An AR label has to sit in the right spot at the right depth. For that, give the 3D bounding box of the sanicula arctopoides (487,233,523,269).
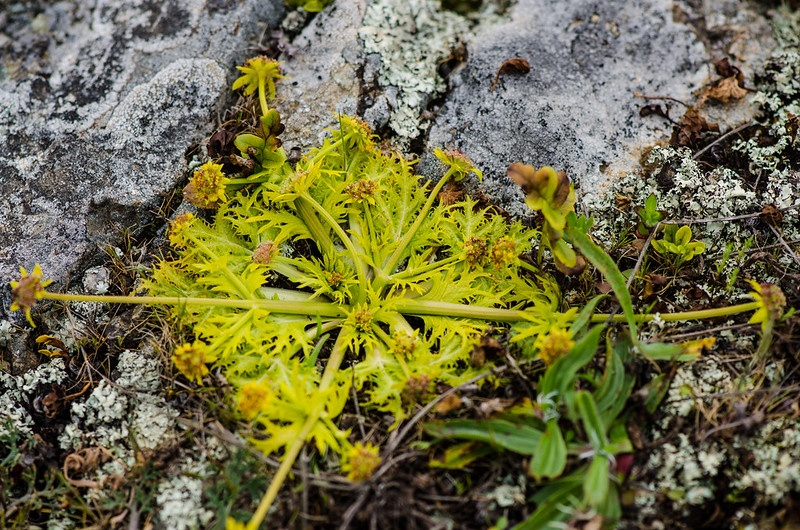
[{"bbox_3d":[0.583,-0.081,4.356,0.166,0.118,0.149,-26,64,0],"label":"sanicula arctopoides"}]

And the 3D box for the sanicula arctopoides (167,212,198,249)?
[{"bbox_3d":[-1.240,-0.195,4.348,0.176,0.158,0.061,-45,50,-6],"label":"sanicula arctopoides"}]

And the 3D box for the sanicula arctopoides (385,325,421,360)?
[{"bbox_3d":[0.019,0.424,4.250,0.177,0.092,0.173,-8,66,9],"label":"sanicula arctopoides"}]

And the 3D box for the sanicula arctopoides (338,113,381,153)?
[{"bbox_3d":[-0.255,-0.767,4.484,0.211,0.213,0.093,39,84,25],"label":"sanicula arctopoides"}]

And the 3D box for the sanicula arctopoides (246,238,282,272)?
[{"bbox_3d":[-0.782,-0.065,4.435,0.113,0.137,0.158,23,74,20],"label":"sanicula arctopoides"}]

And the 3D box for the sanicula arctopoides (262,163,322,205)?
[{"bbox_3d":[-0.610,-0.432,4.380,0.356,0.186,0.146,-12,65,7],"label":"sanicula arctopoides"}]

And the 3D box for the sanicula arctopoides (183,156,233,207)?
[{"bbox_3d":[-1.105,-0.454,4.282,0.246,0.085,0.255,-37,70,8],"label":"sanicula arctopoides"}]

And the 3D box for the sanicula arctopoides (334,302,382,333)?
[{"bbox_3d":[-0.231,0.291,4.359,0.233,0.102,0.161,-6,66,10],"label":"sanicula arctopoides"}]

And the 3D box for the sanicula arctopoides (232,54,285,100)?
[{"bbox_3d":[-0.828,-1.107,4.552,0.298,0.249,0.189,-5,66,10],"label":"sanicula arctopoides"}]

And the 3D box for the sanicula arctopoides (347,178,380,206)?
[{"bbox_3d":[-0.218,-0.430,4.406,0.139,0.062,0.151,1,73,-2],"label":"sanicula arctopoides"}]

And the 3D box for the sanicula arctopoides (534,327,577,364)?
[{"bbox_3d":[0.822,0.422,4.076,0.211,0.152,0.172,-34,64,-3],"label":"sanicula arctopoides"}]

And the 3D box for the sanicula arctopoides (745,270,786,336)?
[{"bbox_3d":[1.900,0.200,4.042,0.192,0.123,0.211,32,77,22],"label":"sanicula arctopoides"}]
